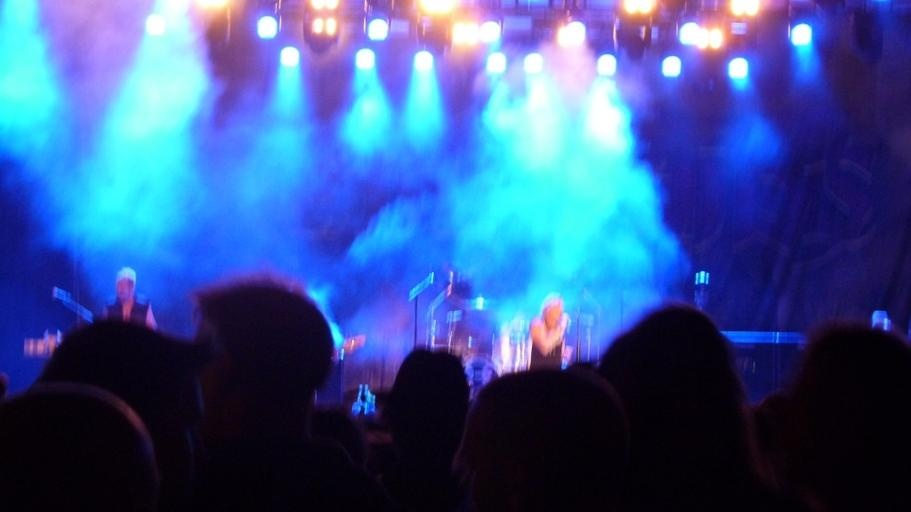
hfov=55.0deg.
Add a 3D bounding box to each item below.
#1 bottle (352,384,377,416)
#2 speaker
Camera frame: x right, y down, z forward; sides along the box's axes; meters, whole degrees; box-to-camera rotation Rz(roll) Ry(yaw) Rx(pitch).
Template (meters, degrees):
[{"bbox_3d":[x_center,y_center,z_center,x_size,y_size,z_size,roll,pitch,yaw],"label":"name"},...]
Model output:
[{"bbox_3d":[-1.223,1.959,11.796,0.270,0.324,0.302,-3,-8,35],"label":"bottle"},{"bbox_3d":[3.968,1.436,11.243,1.320,0.704,0.731,3,3,0],"label":"speaker"}]
